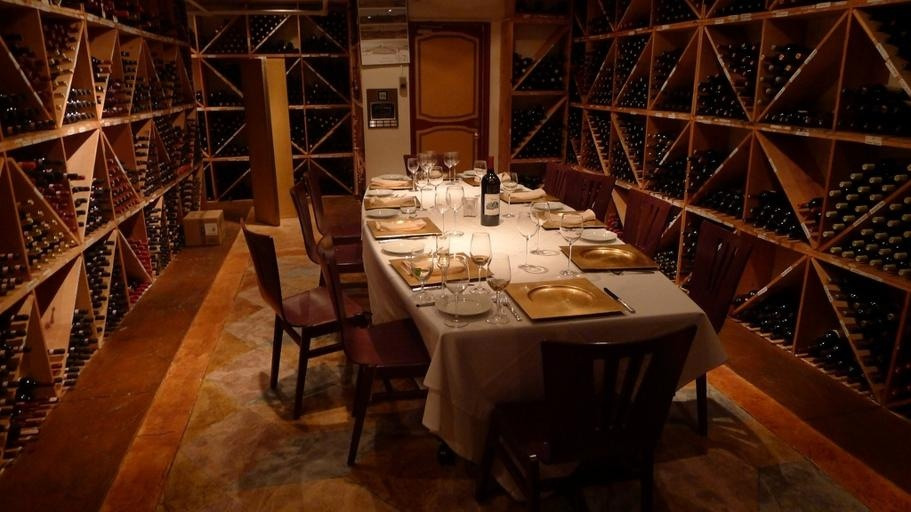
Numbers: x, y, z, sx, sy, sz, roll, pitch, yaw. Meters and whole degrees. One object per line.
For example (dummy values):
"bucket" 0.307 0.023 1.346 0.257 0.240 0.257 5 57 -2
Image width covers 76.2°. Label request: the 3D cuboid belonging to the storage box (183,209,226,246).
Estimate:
"storage box" -3.334 -0.386 7.745 0.457 0.344 0.475 3 28 -10
